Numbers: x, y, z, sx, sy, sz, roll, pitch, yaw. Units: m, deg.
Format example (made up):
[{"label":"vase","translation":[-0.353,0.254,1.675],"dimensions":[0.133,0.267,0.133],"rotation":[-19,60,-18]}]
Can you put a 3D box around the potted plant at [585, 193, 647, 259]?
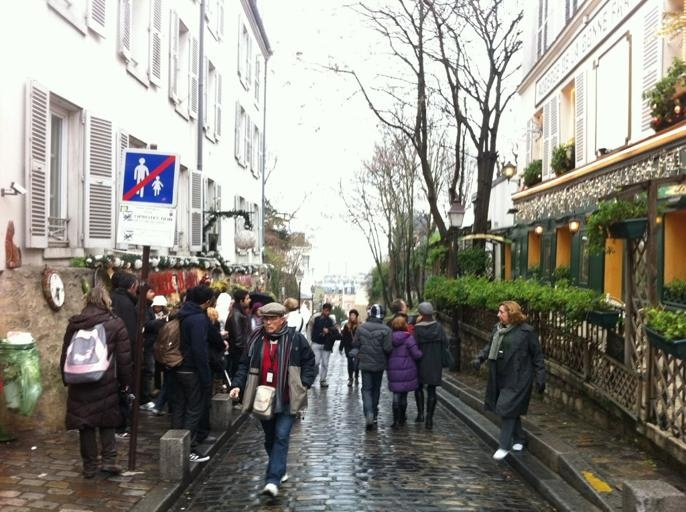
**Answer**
[{"label":"potted plant","translation":[4.235,-0.474,9.661],"dimensions":[0.668,0.613,0.748],"rotation":[-6,-12,-10]}]

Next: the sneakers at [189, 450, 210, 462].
[{"label":"sneakers","translation":[-1.898,2.710,8.443],"dimensions":[0.313,0.155,0.128],"rotation":[-1,0,18]}]

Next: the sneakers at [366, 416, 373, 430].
[{"label":"sneakers","translation":[0.461,2.919,10.945],"dimensions":[0.129,0.277,0.228],"rotation":[3,-1,1]}]

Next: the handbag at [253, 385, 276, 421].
[{"label":"handbag","translation":[-0.960,1.744,7.576],"dimensions":[0.243,0.404,0.196],"rotation":[13,9,3]}]

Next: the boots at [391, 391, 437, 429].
[{"label":"boots","translation":[1.321,2.870,11.602],"dimensions":[0.644,0.960,0.669],"rotation":[1,3,3]}]

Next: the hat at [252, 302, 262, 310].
[{"label":"hat","translation":[-1.695,0.968,12.415],"dimensions":[0.144,0.206,0.215],"rotation":[10,-25,-11]}]

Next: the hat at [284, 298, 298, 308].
[{"label":"hat","translation":[-1.192,1.077,14.279],"dimensions":[0.229,0.239,0.275],"rotation":[-4,28,-47]}]

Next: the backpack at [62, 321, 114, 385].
[{"label":"backpack","translation":[-2.998,1.046,7.271],"dimensions":[0.467,0.765,0.366],"rotation":[7,24,-19]}]

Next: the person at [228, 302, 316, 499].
[{"label":"person","translation":[-0.847,1.699,7.715],"dimensions":[0.863,2.251,0.841],"rotation":[0,0,33]}]

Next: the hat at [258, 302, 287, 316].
[{"label":"hat","translation":[-0.855,0.671,7.787],"dimensions":[0.310,0.170,0.326],"rotation":[0,-1,-4]}]

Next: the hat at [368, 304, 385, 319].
[{"label":"hat","translation":[0.624,1.041,11.682],"dimensions":[0.206,0.312,0.288],"rotation":[4,24,-9]}]

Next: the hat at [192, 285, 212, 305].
[{"label":"hat","translation":[-1.924,0.527,8.622],"dimensions":[0.181,0.280,0.263],"rotation":[5,7,2]}]

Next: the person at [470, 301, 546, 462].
[{"label":"person","translation":[2.439,1.757,8.959],"dimensions":[0.803,1.873,0.470],"rotation":[0,0,14]}]

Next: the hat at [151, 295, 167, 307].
[{"label":"hat","translation":[-3.534,0.867,12.040],"dimensions":[0.246,0.218,0.277],"rotation":[1,6,6]}]

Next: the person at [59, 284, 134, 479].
[{"label":"person","translation":[-2.993,1.481,7.535],"dimensions":[0.742,2.240,0.740],"rotation":[-2,2,-41]}]

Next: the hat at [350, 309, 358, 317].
[{"label":"hat","translation":[0.260,1.369,15.387],"dimensions":[0.141,0.214,0.212],"rotation":[-4,-19,11]}]

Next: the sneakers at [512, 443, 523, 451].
[{"label":"sneakers","translation":[2.534,2.779,9.096],"dimensions":[0.132,0.070,0.087],"rotation":[12,-15,4]}]

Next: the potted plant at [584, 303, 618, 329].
[{"label":"potted plant","translation":[4.051,0.931,9.816],"dimensions":[0.301,0.242,0.608],"rotation":[1,-7,-7]}]

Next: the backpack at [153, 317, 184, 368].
[{"label":"backpack","translation":[-2.386,1.159,8.476],"dimensions":[0.274,0.660,0.506],"rotation":[1,4,-43]}]

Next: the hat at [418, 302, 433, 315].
[{"label":"hat","translation":[1.580,1.014,11.988],"dimensions":[0.245,0.232,0.614],"rotation":[0,-1,13]}]

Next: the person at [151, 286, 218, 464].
[{"label":"person","translation":[-2.125,1.600,8.440],"dimensions":[0.696,2.416,0.505],"rotation":[0,0,-9]}]

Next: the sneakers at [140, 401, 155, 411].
[{"label":"sneakers","translation":[-3.546,2.725,11.366],"dimensions":[0.150,0.210,0.413],"rotation":[5,-15,-13]}]
